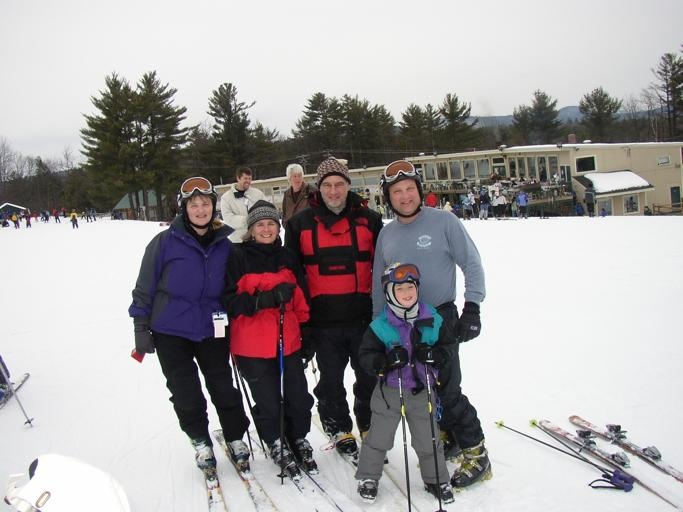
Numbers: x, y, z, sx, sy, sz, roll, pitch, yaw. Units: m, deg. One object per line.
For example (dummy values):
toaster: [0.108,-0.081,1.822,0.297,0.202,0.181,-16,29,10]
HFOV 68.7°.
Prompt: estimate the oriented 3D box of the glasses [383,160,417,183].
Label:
glasses: [0.506,-0.763,4.590,0.195,0.110,0.243,-12,-25,-4]

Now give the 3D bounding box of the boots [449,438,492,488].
boots: [1.111,1.786,4.383,0.390,0.390,0.164,-13,4,-19]

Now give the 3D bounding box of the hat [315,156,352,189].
hat: [-0.086,-0.815,4.841,0.230,0.330,0.343,0,-1,-1]

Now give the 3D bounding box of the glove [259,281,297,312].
glove: [-0.568,0.357,4.436,0.375,0.222,0.192,-12,12,-23]

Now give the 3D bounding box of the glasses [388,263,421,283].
glasses: [0.500,0.158,4.193,0.273,0.188,0.164,-6,11,4]

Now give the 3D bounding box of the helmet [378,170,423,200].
helmet: [0.503,-0.672,4.479,0.226,0.341,0.200,-4,2,1]

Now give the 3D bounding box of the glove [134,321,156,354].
glove: [-1.730,0.716,4.403,0.180,0.282,0.095,-2,-14,4]

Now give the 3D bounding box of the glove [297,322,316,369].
glove: [-0.330,0.822,4.640,0.223,0.360,0.126,2,-4,-22]

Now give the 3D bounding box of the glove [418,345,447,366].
glove: [0.742,0.823,4.106,0.252,0.159,0.069,-8,10,-4]

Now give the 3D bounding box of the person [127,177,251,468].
person: [-1.344,0.696,4.527,0.939,2.724,0.621,-8,10,-14]

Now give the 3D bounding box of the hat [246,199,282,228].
hat: [-0.740,-0.394,4.697,0.224,0.268,0.264,-2,-8,-27]

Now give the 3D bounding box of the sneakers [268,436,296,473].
sneakers: [-0.565,1.837,4.612,0.151,0.195,0.409,-16,9,-20]

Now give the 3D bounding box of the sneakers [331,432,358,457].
sneakers: [0.027,1.789,4.831,0.162,0.245,0.225,-16,5,-17]

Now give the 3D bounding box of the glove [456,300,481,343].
glove: [1.089,0.571,4.325,0.189,0.355,0.106,2,-9,8]

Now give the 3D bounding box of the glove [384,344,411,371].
glove: [0.441,0.824,4.073,0.184,0.209,0.148,-5,-4,-14]

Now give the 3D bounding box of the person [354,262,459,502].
person: [0.501,1.057,4.232,0.830,1.951,0.576,-4,10,9]
